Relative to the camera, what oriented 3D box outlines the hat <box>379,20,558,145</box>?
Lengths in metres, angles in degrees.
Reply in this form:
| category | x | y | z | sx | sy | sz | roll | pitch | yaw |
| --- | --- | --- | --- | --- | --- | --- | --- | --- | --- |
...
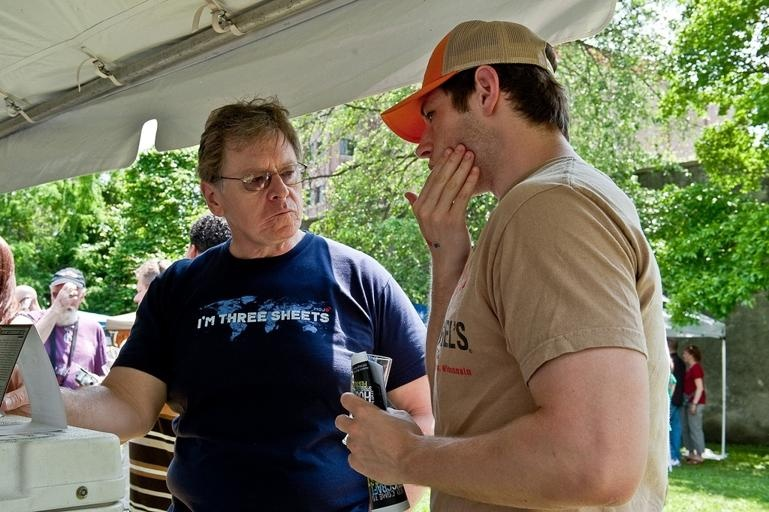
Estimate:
| category | x | y | z | sx | sy | sz | roll | pitch | yaw |
| --- | --- | --- | --- | --- | --- | --- | --- | --- | --- |
| hat | 0.336 | -0.678 | 2.442 | 0.545 | 0.288 | 0.369 | -4 | -10 | 7 |

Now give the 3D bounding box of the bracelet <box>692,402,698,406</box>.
| category | x | y | z | sx | sy | sz | roll | pitch | yaw |
| --- | --- | --- | --- | --- | --- | --- | --- | --- | --- |
| bracelet | 4.998 | 2.387 | 10.982 | 0.109 | 0.038 | 0.027 | 12 | -20 | -39 |
